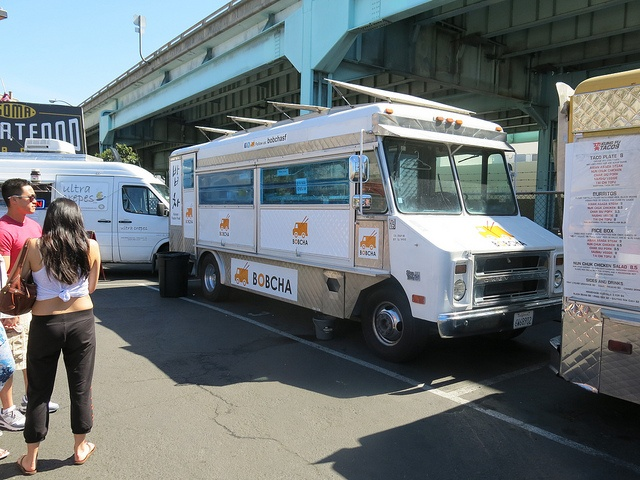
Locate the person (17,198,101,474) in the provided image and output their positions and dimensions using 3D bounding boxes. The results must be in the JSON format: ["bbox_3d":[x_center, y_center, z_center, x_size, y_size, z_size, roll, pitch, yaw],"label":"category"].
[{"bbox_3d":[-2.219,0.830,3.991,0.668,2.341,0.316,-3,8,-28],"label":"person"}]

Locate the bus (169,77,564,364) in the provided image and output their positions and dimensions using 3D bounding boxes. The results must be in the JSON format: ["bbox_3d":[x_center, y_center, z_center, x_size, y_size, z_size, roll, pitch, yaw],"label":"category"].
[{"bbox_3d":[0.533,-0.378,8.536,3.424,3.338,6.522,-4,4,-38],"label":"bus"}]

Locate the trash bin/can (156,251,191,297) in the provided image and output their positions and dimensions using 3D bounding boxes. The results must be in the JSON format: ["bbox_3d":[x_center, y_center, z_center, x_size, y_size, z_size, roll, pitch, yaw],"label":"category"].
[{"bbox_3d":[-3.311,0.642,10.390,0.656,0.885,0.649,14,19,27],"label":"trash bin/can"}]

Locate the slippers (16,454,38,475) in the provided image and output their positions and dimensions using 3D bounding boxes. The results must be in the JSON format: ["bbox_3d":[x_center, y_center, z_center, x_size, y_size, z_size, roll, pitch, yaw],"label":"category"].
[{"bbox_3d":[-2.534,1.953,4.055,0.233,0.077,0.094,20,7,36],"label":"slippers"}]
